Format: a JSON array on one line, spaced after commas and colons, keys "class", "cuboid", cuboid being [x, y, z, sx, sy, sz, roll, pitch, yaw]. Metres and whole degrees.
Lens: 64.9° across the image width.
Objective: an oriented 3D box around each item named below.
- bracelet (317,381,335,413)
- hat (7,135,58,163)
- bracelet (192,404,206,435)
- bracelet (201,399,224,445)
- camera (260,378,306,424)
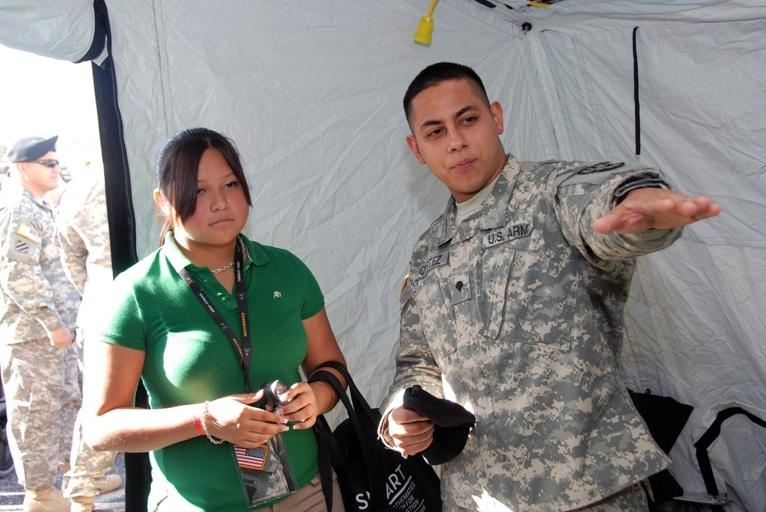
[{"class": "bracelet", "cuboid": [-0.230, 0.556, 2.390, 0.037, 0.107, 0.077, -28, -16, 37]}, {"class": "hat", "cuboid": [-2.646, -0.805, 4.552, 0.273, 0.090, 0.204, -23, 18, -13]}, {"class": "bracelet", "cuboid": [-0.660, 0.589, 2.161, 0.034, 0.092, 0.067, -4, 13, -12]}, {"class": "bracelet", "cuboid": [-0.622, 0.613, 2.230, 0.108, 0.146, 0.037, 16, 16, 15]}, {"class": "camera", "cuboid": [-0.398, 0.551, 2.194, 0.181, 0.082, 0.164, -15, 13, 15]}]
